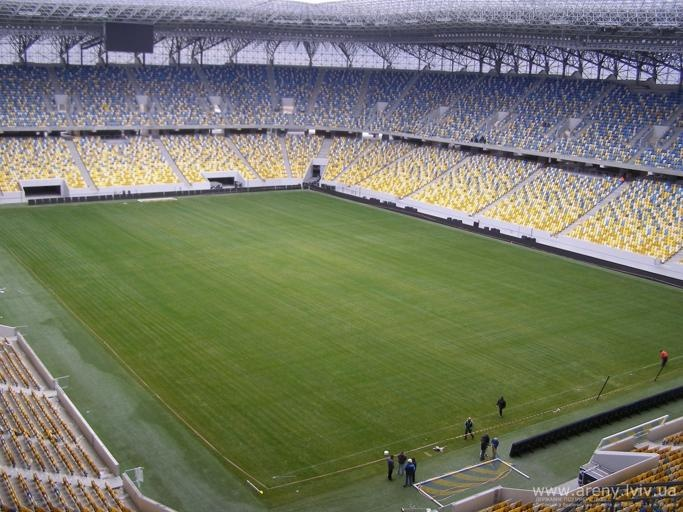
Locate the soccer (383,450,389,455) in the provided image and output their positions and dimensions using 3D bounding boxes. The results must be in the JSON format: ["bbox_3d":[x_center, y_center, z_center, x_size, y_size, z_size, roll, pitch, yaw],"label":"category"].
[{"bbox_3d":[1.761,7.610,26.508,0.216,0.117,0.288,0,14,-1],"label":"soccer"}]
